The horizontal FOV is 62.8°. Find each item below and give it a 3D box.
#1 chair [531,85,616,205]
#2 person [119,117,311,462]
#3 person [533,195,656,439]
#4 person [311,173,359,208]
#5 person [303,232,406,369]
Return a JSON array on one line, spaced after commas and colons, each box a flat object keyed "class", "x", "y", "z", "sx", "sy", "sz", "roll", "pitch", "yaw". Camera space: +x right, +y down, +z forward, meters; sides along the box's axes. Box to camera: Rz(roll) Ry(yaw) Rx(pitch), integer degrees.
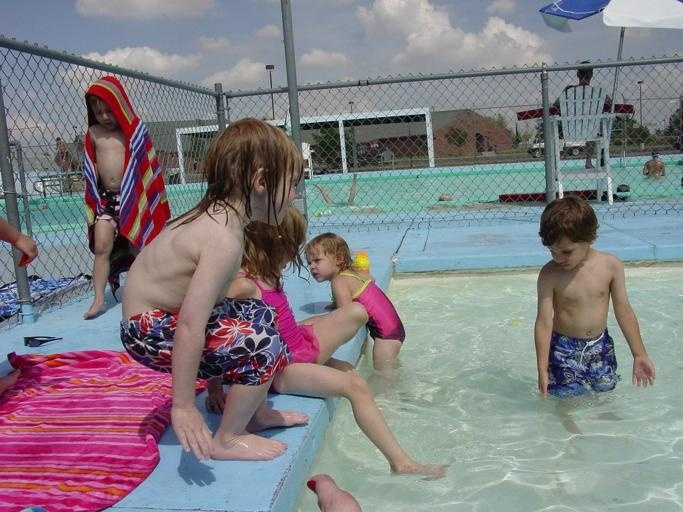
[{"class": "chair", "x": 3.376, "y": -1.877, "z": 8.010, "sx": 0.830, "sy": 0.678, "sz": 0.526, "roll": -21, "pitch": 13, "yaw": -12}, {"class": "person", "x": -0.436, "y": 0.122, "z": 2.053, "sx": 0.618, "sy": 1.221, "sz": 0.574, "roll": -11, "pitch": 18, "yaw": -38}, {"class": "person", "x": 1.257, "y": 0.421, "z": 2.789, "sx": 0.518, "sy": 1.367, "sz": 0.395, "roll": -4, "pitch": 3, "yaw": 7}, {"class": "person", "x": -0.044, "y": -1.321, "z": 11.318, "sx": 0.946, "sy": 1.057, "sz": 0.276, "roll": 12, "pitch": 55, "yaw": 24}, {"class": "person", "x": 0.111, "y": 0.376, "z": 3.462, "sx": 0.563, "sy": 1.044, "sz": 0.453, "roll": 3, "pitch": 22, "yaw": 28}]
